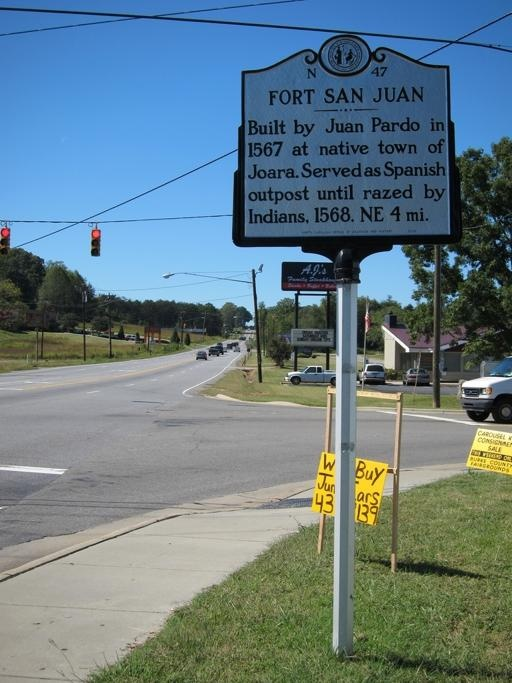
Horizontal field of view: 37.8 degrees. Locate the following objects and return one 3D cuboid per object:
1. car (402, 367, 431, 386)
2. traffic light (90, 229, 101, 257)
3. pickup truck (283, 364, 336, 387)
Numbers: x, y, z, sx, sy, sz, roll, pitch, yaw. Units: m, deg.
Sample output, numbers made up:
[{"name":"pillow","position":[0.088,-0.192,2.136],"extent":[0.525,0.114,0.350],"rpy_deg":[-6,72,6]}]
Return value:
[{"name":"car","position":[10.474,2.360,48.616],"extent":[1.634,1.157,4.832],"rpy_deg":[2,0,16]},{"name":"traffic light","position":[-4.780,-2.939,22.167],"extent":[0.211,0.767,0.355],"rpy_deg":[1,0,-4]},{"name":"pickup truck","position":[3.511,2.222,47.076],"extent":[3.485,1.180,2.166],"rpy_deg":[1,0,-29]}]
